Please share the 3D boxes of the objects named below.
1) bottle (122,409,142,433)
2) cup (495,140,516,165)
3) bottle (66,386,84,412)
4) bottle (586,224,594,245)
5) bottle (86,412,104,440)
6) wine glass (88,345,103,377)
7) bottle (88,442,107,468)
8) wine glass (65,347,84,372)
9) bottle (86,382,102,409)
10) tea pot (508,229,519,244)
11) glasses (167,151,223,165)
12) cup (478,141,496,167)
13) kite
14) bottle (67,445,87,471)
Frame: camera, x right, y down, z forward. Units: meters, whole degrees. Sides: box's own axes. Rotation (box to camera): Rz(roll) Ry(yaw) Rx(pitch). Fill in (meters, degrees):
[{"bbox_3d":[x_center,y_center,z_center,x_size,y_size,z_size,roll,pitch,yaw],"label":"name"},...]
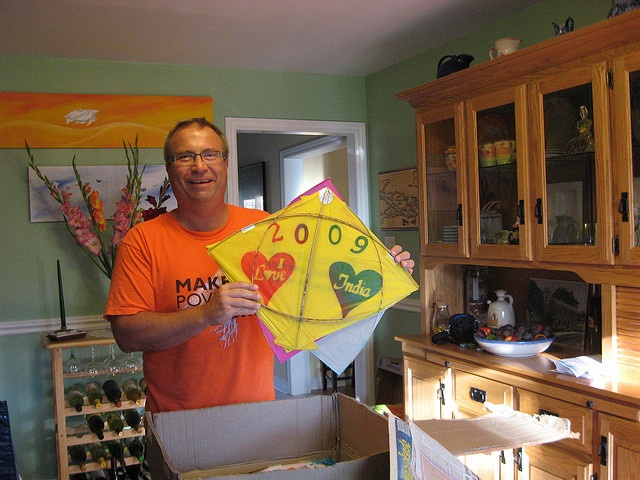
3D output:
[{"bbox_3d":[-1.215,1.167,3.293,0.060,0.061,0.200,-41,28,-17],"label":"bottle"},{"bbox_3d":[0.969,-0.463,2.693,0.115,0.112,0.078,-3,2,17],"label":"cup"},{"bbox_3d":[-1.563,1.020,3.269,0.092,0.137,0.331,-4,-1,-30],"label":"bottle"},{"bbox_3d":[1.224,-0.025,2.307,0.012,0.092,0.058,-4,0,-12],"label":"bottle"},{"bbox_3d":[-1.424,1.187,3.227,0.132,0.146,0.073,-5,0,35],"label":"bottle"},{"bbox_3d":[-1.492,0.772,3.375,0.083,0.164,0.465,-4,-1,-24],"label":"wine glass"},{"bbox_3d":[-1.399,1.342,3.211,0.063,0.062,0.203,21,-2,-35],"label":"bottle"},{"bbox_3d":[-1.603,0.779,3.344,0.080,0.074,0.170,13,28,-27],"label":"wine glass"},{"bbox_3d":[-1.484,1.013,3.355,0.090,0.136,0.395,-4,-1,-26],"label":"bottle"},{"bbox_3d":[1.002,-0.019,2.644,0.064,0.062,0.048,4,0,-9],"label":"tea pot"},{"bbox_3d":[-0.386,-0.252,1.583,0.166,0.040,0.039,-4,0,-7],"label":"glasses"},{"bbox_3d":[0.906,-0.468,2.776,0.104,0.121,0.105,-1,-3,0],"label":"cup"},{"bbox_3d":[-0.030,0.065,1.685,0.561,0.512,0.091,10,7,-2],"label":"kite"},{"bbox_3d":[-1.526,1.366,3.230,0.097,0.138,0.191,-4,-1,-29],"label":"bottle"}]
